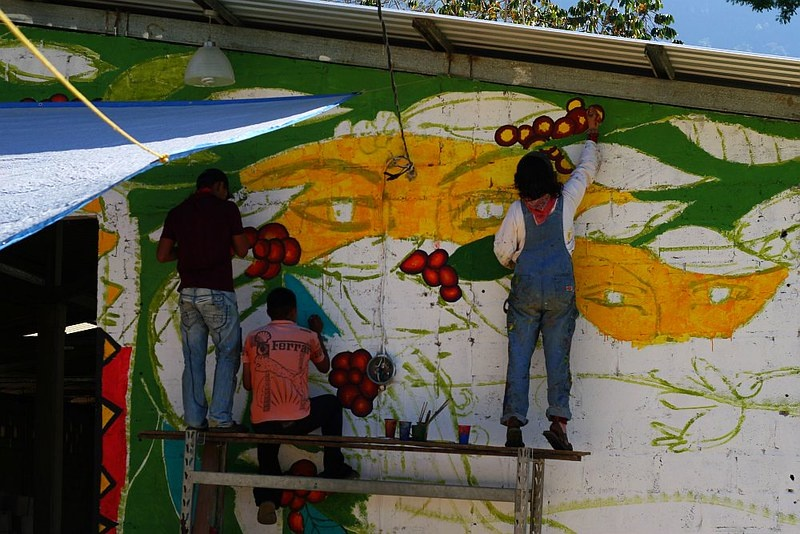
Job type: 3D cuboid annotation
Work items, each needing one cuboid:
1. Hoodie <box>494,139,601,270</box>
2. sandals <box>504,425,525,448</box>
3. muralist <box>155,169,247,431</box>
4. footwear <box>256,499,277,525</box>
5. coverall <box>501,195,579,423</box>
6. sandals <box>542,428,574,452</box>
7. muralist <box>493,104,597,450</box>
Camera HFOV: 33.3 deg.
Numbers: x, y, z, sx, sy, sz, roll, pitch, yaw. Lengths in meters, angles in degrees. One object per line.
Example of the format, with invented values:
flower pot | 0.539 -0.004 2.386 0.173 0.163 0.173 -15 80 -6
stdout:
Hoodie | 1.210 -0.529 11.193 0.672 1.079 1.215 -1 0 -32
sandals | 0.919 1.357 10.746 0.119 0.175 0.187 0 -2 9
muralist | -1.687 0.272 11.048 0.829 1.952 0.674 2 -1 -1
footwear | -1.084 1.996 10.931 0.150 0.205 0.070 2 17 2
coverall | 1.121 0.340 10.851 0.613 1.824 0.492 -1 8 7
sandals | 1.258 1.382 10.673 0.218 0.164 0.223 -1 8 2
muralist | 1.173 0.108 11.138 0.946 2.179 0.981 0 1 -3
